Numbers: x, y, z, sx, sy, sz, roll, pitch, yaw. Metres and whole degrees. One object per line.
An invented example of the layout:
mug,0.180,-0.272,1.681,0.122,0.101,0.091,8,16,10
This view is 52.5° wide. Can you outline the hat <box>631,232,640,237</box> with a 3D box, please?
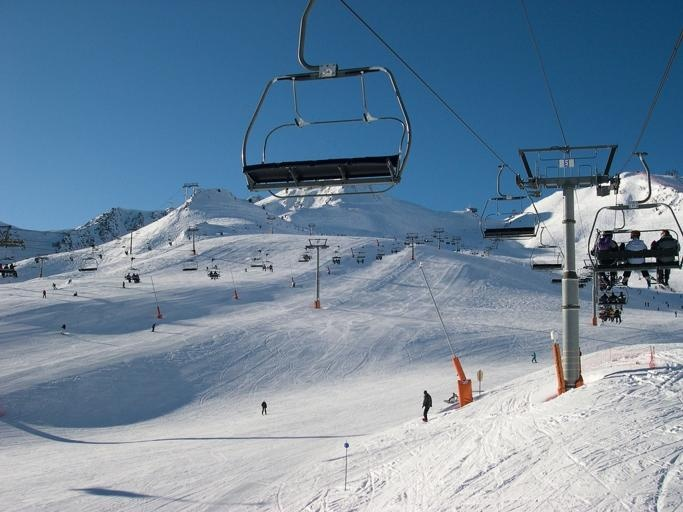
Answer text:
hat,11.295,-0.820,26.759,0.235,0.268,0.267,2,-35,22
